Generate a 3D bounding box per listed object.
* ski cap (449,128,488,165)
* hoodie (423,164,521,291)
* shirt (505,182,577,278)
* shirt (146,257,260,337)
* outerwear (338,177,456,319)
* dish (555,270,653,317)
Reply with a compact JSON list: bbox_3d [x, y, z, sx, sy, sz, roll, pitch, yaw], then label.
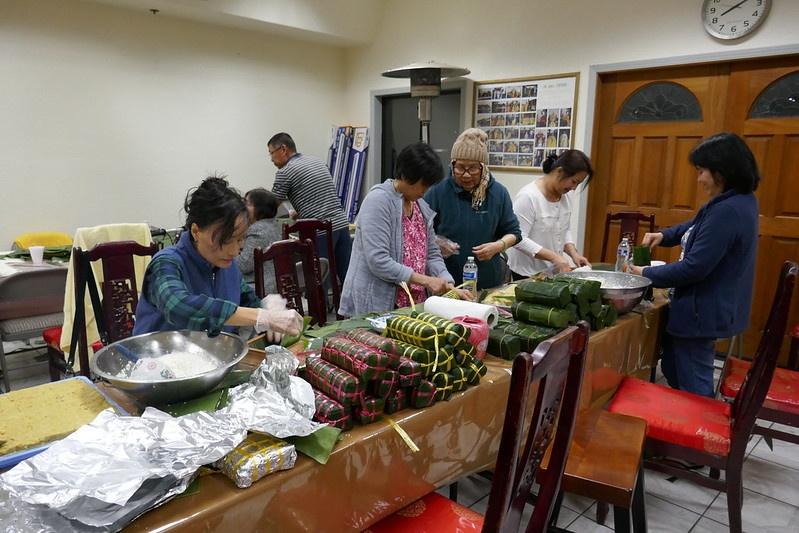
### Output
[{"bbox_3d":[0.444,-0.765,3.371,0.218,0.210,0.208,10,13,8],"label":"ski cap"},{"bbox_3d":[0.449,-0.231,3.379,0.699,0.766,0.426,-9,19,-19],"label":"hoodie"},{"bbox_3d":[1.005,-0.240,3.751,0.335,0.530,0.490,23,41,38],"label":"shirt"},{"bbox_3d":[-0.850,0.124,2.338,0.403,0.318,0.330,3,-4,27],"label":"shirt"},{"bbox_3d":[0.014,-0.075,3.099,0.576,0.802,0.679,-3,11,-43],"label":"outerwear"},{"bbox_3d":[1.225,0.117,3.048,0.330,0.121,0.335,4,8,37],"label":"dish"}]
